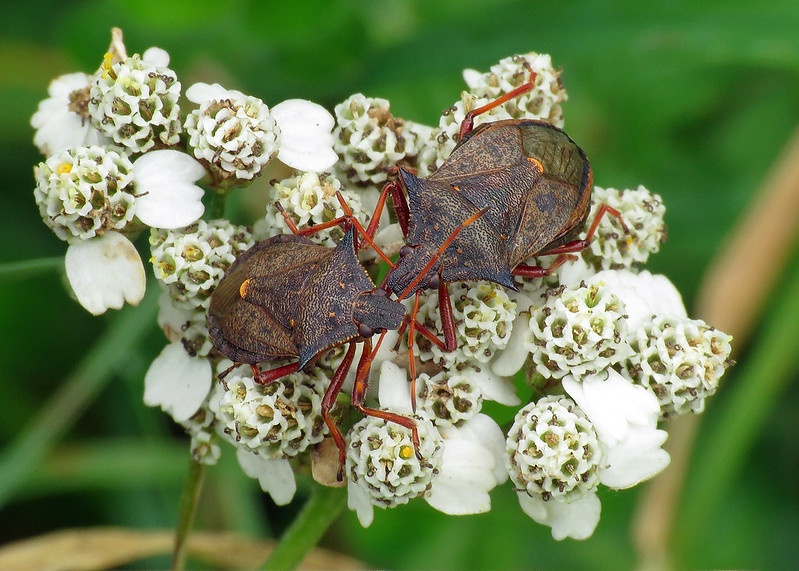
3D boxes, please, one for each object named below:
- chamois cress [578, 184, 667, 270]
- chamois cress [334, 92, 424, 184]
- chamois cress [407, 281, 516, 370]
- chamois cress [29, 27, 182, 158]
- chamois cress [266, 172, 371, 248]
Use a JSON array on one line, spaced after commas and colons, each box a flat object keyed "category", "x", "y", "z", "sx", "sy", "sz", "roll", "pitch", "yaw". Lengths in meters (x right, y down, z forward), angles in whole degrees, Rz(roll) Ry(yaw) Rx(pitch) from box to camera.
[{"category": "chamois cress", "x": 0.785, "y": -0.262, "z": 3.209, "sx": 0.224, "sy": 0.136, "sz": 0.225, "roll": 31, "pitch": 19, "yaw": -27}, {"category": "chamois cress", "x": -0.096, "y": -0.545, "z": 3.139, "sx": 0.314, "sy": 0.335, "sz": 0.188, "roll": -3, "pitch": 8, "yaw": -7}, {"category": "chamois cress", "x": 0.256, "y": 0.135, "z": 3.065, "sx": 0.299, "sy": 0.319, "sz": 0.164, "roll": -8, "pitch": -5, "yaw": 2}, {"category": "chamois cress", "x": -0.980, "y": -0.653, "z": 3.040, "sx": 0.314, "sy": 0.319, "sz": 0.176, "roll": 12, "pitch": 65, "yaw": -6}, {"category": "chamois cress", "x": -0.362, "y": -0.315, "z": 3.085, "sx": 0.289, "sy": 0.293, "sz": 0.102, "roll": 3, "pitch": 68, "yaw": -34}]
